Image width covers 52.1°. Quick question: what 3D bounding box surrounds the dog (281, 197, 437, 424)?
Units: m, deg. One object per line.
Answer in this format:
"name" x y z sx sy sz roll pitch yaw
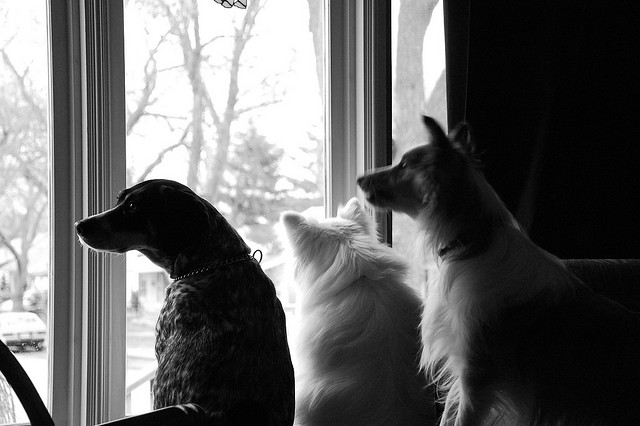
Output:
"dog" 0.156 0.450 2.677 0.409 1.048 0.494 -2 -17 0
